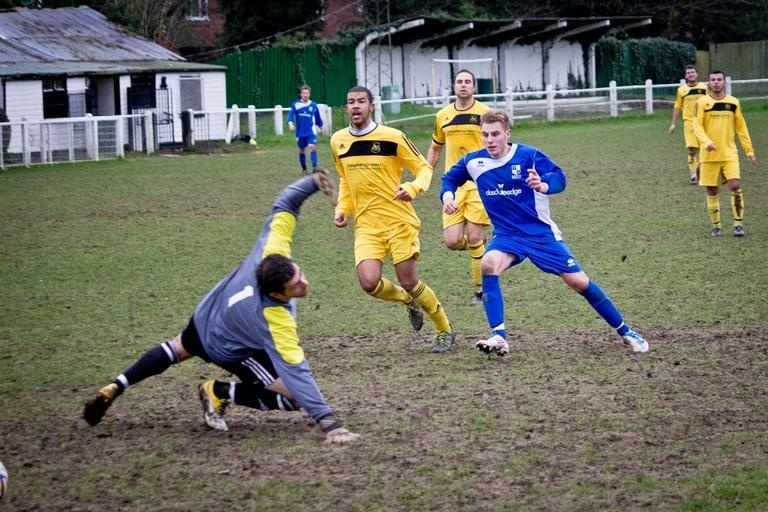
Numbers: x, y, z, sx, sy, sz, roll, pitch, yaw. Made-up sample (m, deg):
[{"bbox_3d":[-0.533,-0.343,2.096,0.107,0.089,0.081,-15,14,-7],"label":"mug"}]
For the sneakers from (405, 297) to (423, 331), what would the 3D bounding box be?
[{"bbox_3d":[0.341,0.694,10.267,0.164,0.388,0.188,-5,19,40],"label":"sneakers"}]

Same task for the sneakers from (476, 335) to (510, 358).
[{"bbox_3d":[1.151,0.981,9.334,0.364,0.175,0.160,14,-43,-26],"label":"sneakers"}]

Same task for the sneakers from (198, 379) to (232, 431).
[{"bbox_3d":[-1.590,1.424,8.369,0.295,0.532,0.218,-8,2,12],"label":"sneakers"}]

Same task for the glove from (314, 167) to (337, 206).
[{"bbox_3d":[-0.557,-0.691,8.358,0.249,0.303,0.133,0,-3,-12],"label":"glove"}]

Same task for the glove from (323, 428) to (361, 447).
[{"bbox_3d":[-0.396,1.684,7.982,0.293,0.102,0.150,-1,8,-2],"label":"glove"}]

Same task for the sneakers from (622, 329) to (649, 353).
[{"bbox_3d":[2.746,0.947,9.505,0.324,0.171,0.139,41,11,13],"label":"sneakers"}]

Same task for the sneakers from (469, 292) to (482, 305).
[{"bbox_3d":[1.236,0.571,11.496,0.182,0.165,0.178,-4,-9,19],"label":"sneakers"}]

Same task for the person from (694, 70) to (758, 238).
[{"bbox_3d":[5.366,-1.657,13.753,0.843,2.583,1.174,0,9,19],"label":"person"}]

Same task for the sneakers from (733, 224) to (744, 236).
[{"bbox_3d":[5.489,-0.408,13.442,0.207,0.232,0.150,3,0,20],"label":"sneakers"}]
